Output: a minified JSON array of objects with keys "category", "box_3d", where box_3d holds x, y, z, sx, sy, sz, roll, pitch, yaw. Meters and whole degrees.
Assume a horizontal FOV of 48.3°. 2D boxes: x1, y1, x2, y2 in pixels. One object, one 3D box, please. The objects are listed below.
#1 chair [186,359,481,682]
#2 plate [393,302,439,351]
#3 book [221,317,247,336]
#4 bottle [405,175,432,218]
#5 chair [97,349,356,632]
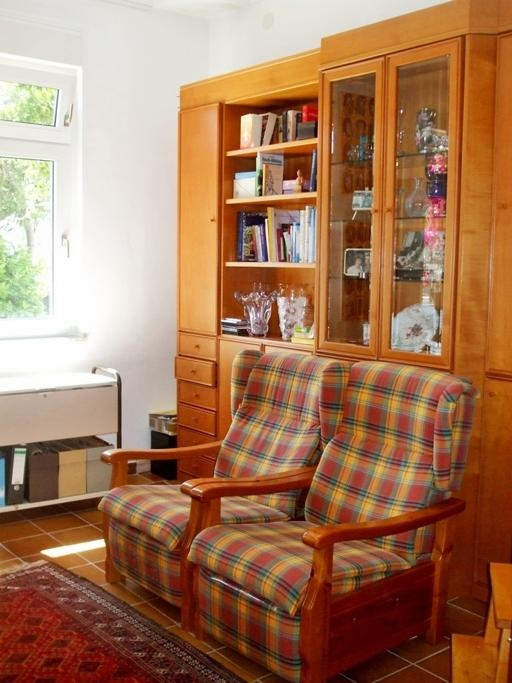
[{"category":"chair","box_3d":[0.248,0.534,1.793,0.732,0.925,0.566,2,-2,-36]},{"category":"plate","box_3d":[0.635,-0.049,2.307,0.040,0.198,0.250,2,-2,-26]},{"category":"book","box_3d":[-0.134,-0.068,3.401,0.107,0.068,0.145,1,3,-37]},{"category":"bottle","box_3d":[0.640,-0.573,2.294,0.011,0.161,0.122,2,-2,-27]},{"category":"chair","box_3d":[-0.175,0.481,2.570,1.080,1.191,0.869,0,4,-37]}]
